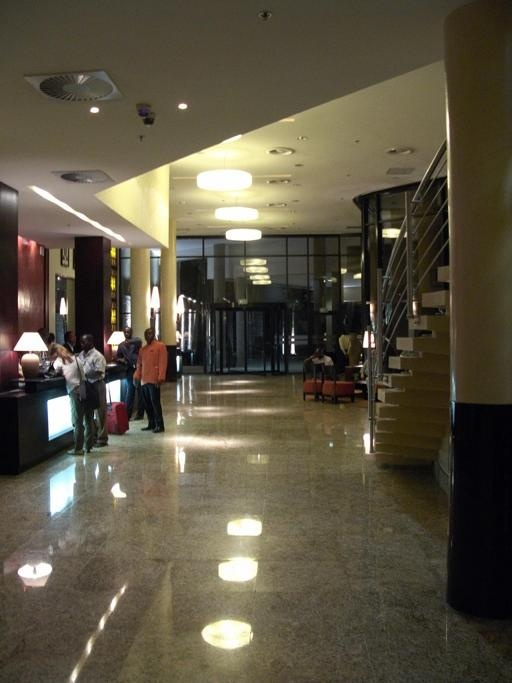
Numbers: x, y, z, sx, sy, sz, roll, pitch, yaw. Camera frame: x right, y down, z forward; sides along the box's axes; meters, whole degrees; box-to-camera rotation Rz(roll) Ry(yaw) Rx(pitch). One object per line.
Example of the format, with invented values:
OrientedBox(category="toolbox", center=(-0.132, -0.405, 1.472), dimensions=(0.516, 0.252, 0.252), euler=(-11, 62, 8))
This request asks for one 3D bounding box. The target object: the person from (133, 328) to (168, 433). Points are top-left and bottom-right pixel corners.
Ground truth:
OrientedBox(category="person", center=(-1.695, 0.619, 8.809), dimensions=(0.762, 1.691, 0.341), euler=(0, 2, 43))

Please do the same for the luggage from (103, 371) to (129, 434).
OrientedBox(category="luggage", center=(-2.380, 1.011, 8.755), dimensions=(0.437, 0.988, 0.318), euler=(-2, 2, 15))

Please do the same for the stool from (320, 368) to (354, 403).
OrientedBox(category="stool", center=(2.036, 1.141, 13.093), dimensions=(0.669, 0.838, 0.819), euler=(-2, 4, -13))

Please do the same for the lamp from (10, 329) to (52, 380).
OrientedBox(category="lamp", center=(-3.261, 0.190, 7.727), dimensions=(0.513, 0.997, 0.577), euler=(0, -5, 0))

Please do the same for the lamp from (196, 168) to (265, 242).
OrientedBox(category="lamp", center=(-0.470, -2.767, 10.207), dimensions=(1.111, 1.722, 1.310), euler=(-1, 4, -4))

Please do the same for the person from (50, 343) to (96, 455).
OrientedBox(category="person", center=(-2.473, 0.720, 7.348), dimensions=(0.408, 1.769, 0.439), euler=(-7, 17, -22))

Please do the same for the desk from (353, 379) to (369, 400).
OrientedBox(category="desk", center=(2.717, 1.174, 13.901), dimensions=(0.280, 0.473, 1.755), euler=(-1, 2, 9))

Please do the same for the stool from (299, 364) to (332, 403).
OrientedBox(category="stool", center=(1.551, 0.983, 13.718), dimensions=(0.692, 1.223, 0.830), euler=(-2, 3, -33))
